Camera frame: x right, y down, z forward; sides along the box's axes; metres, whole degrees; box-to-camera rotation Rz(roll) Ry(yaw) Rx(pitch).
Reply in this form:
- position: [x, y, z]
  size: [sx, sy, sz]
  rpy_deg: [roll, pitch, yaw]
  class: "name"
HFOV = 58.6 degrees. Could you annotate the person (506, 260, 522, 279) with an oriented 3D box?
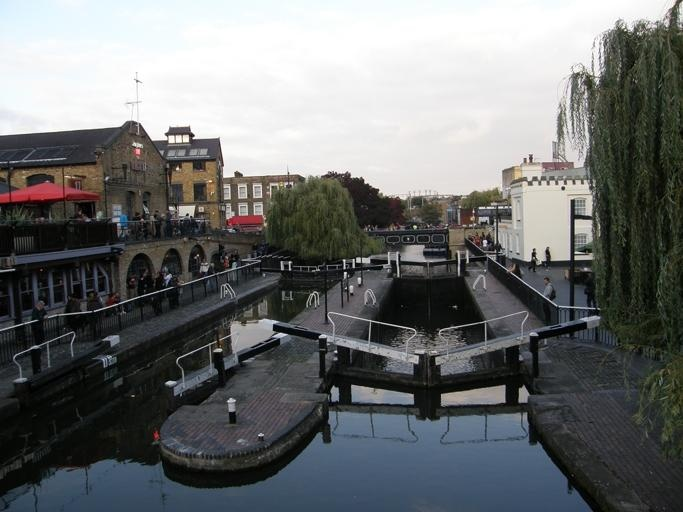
- position: [9.004, 0.670, 31.867]
  size: [0.386, 1.017, 0.312]
  rpy_deg: [34, -29, -34]
  class: "person"
